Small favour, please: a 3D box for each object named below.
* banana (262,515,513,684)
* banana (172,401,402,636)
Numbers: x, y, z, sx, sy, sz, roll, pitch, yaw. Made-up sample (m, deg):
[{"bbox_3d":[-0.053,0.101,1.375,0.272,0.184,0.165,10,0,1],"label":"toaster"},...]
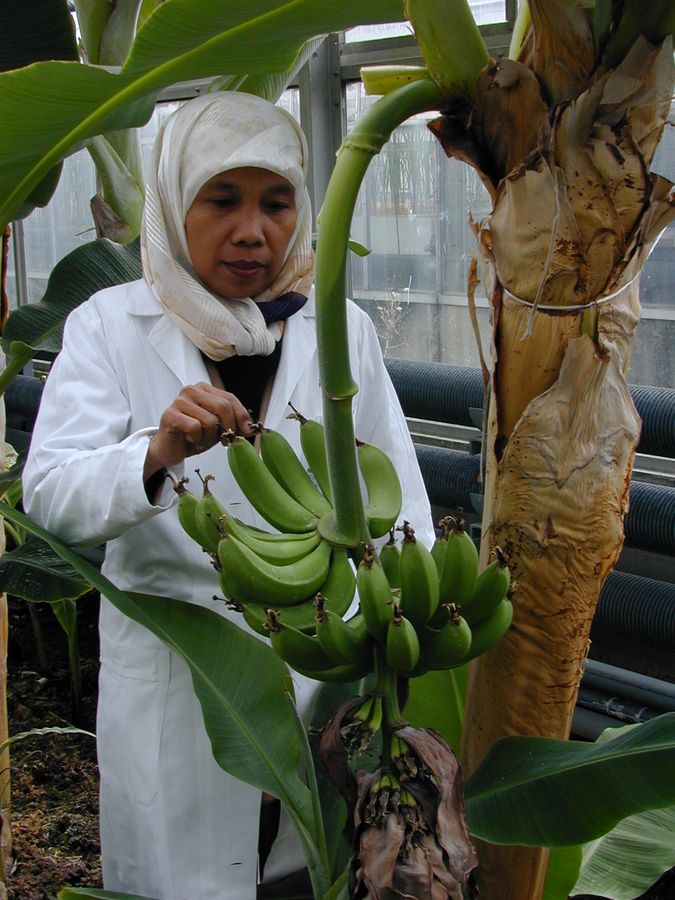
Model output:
[{"bbox_3d":[0.067,0.165,0.873,0.284,0.166,0.199,3,0,-8],"label":"banana"},{"bbox_3d":[-0.013,0.081,0.965,0.236,0.249,0.146,-1,-40,15],"label":"banana"}]
